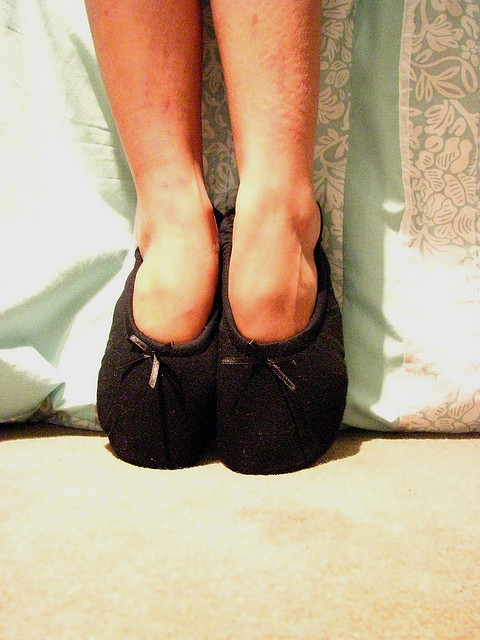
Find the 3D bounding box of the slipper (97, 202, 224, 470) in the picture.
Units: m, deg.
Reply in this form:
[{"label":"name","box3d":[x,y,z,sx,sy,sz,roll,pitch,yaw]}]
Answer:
[{"label":"slipper","box3d":[-0.060,0.035,0.575,0.095,0.131,0.267,0,39,6]}]

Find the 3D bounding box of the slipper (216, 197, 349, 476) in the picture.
[{"label":"slipper","box3d":[0.036,0.028,0.572,0.107,0.259,0.067,-1,-1,1]}]
